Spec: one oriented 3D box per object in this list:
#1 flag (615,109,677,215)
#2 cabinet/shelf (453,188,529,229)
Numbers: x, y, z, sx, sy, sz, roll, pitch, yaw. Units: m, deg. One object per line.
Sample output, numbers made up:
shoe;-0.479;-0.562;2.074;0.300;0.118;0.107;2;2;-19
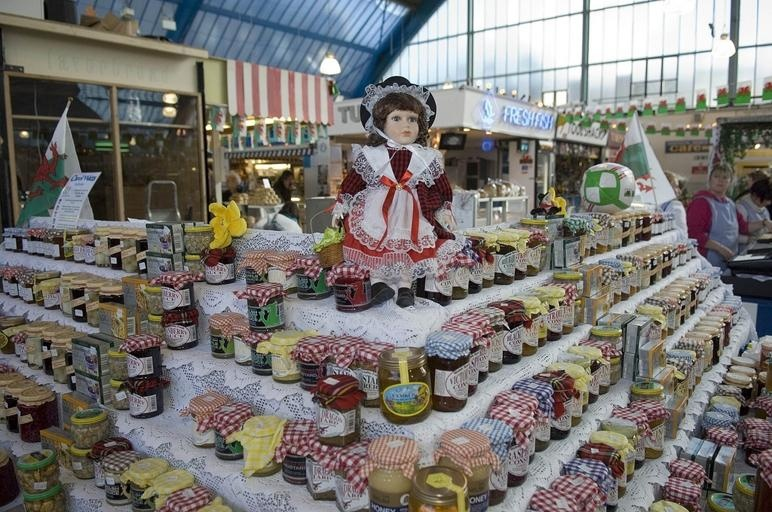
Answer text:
flag;3.076;-1.107;7.539;0.591;1.019;0.439;3;8;8
cabinet/shelf;1.375;-0.618;8.666;1.081;0.589;0.376;-2;5;6
